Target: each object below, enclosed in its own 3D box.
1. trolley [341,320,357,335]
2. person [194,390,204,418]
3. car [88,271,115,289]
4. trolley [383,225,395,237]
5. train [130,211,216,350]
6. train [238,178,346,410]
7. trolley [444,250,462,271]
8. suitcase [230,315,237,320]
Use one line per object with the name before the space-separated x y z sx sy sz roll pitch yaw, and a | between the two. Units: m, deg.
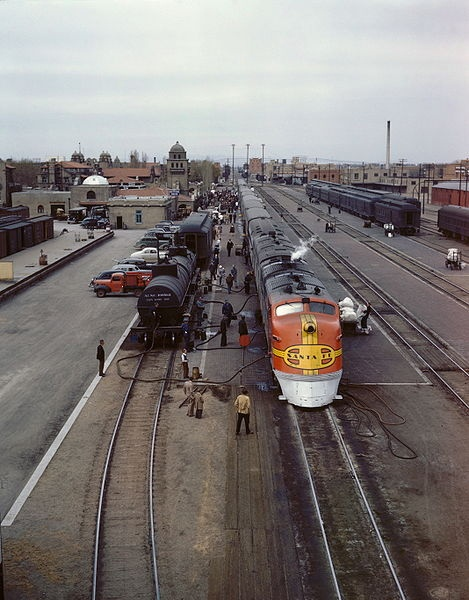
trolley | 5.969 1.499 25.565 1.172 0.809 0.562 0 10 7
person | -1.207 3.406 16.176 0.303 0.827 0.705 -2 12 -6
car | -9.775 -1.396 35.699 1.655 0.809 1.156 1 11 7
trolley | 18.983 -8.364 60.538 1.036 1.191 2.087 -2 10 4
train | -4.008 -1.619 29.743 2.166 3.820 14.387 2 20 0
train | 2.489 -0.734 22.640 2.265 3.132 15.004 -4 21 0
trolley | 19.200 -3.486 42.471 1.163 1.702 1.893 1 15 8
suitcase | -0.057 1.000 26.494 0.252 0.191 0.262 10 12 43
